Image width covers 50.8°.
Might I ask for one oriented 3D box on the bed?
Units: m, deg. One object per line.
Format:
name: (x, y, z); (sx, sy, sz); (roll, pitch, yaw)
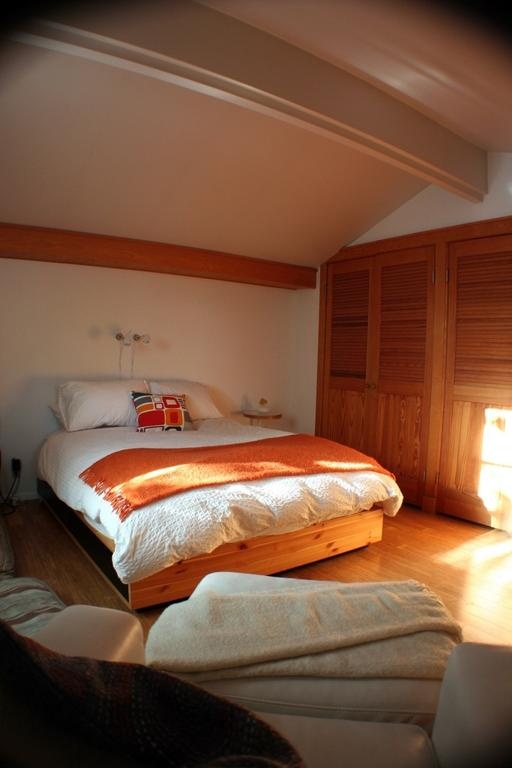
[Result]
bed: (-0.098, 0.501, 2.305); (0.968, 0.236, 0.943); (-3, 11, -32)
